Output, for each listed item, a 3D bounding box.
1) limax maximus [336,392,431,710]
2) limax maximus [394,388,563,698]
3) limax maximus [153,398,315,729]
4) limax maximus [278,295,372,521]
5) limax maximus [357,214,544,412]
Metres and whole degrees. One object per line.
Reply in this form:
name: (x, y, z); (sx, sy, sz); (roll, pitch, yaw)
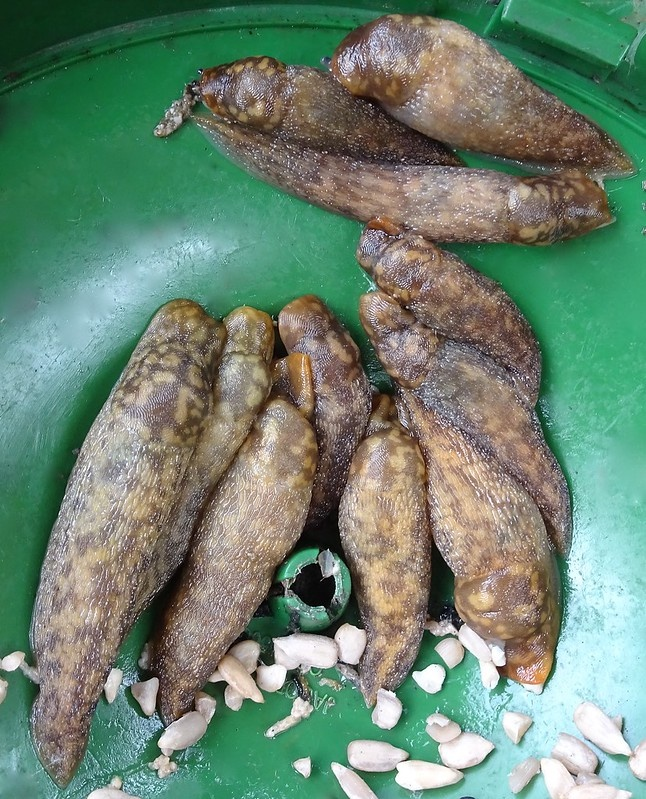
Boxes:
limax maximus: (0.146, 0.418, 2.135); (0.232, 0.187, 0.666); (7, 97, 5)
limax maximus: (0.424, 0.321, 2.120); (0.249, 0.253, 0.771); (-3, 65, -40)
limax maximus: (-0.225, 0.390, 2.113); (0.265, 0.225, 0.860); (33, 100, 14)
limax maximus: (0.014, 0.006, 2.069); (0.208, 0.098, 0.552); (36, 60, -26)
limax maximus: (0.339, -0.232, 2.100); (0.578, 0.296, 0.190); (30, 72, 10)
